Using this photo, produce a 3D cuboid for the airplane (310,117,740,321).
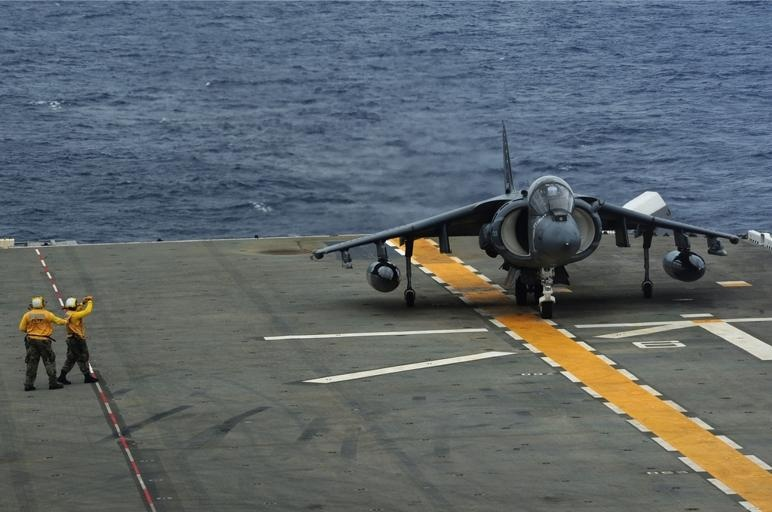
[{"bbox_3d":[7.061,-0.867,53.928,15.762,6.206,8.662,-12,17,-30],"label":"airplane"}]
